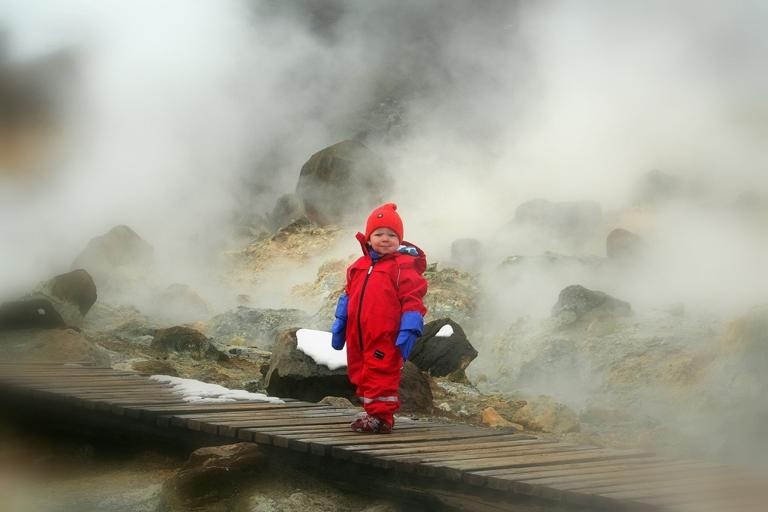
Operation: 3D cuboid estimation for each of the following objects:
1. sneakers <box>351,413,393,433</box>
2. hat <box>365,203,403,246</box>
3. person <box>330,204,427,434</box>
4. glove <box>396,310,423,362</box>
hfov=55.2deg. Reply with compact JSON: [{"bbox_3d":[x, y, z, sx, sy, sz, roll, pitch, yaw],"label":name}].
[{"bbox_3d":[-0.108,1.448,6.332,0.372,0.168,0.138,5,-1,3],"label":"sneakers"},{"bbox_3d":[-0.004,-0.323,6.778,0.385,0.392,0.502,3,-21,1],"label":"hat"},{"bbox_3d":[-0.027,0.512,6.457,0.881,1.818,0.547,6,1,43],"label":"person"},{"bbox_3d":[0.196,0.669,6.187,0.298,0.362,0.151,-2,-18,29],"label":"glove"}]
